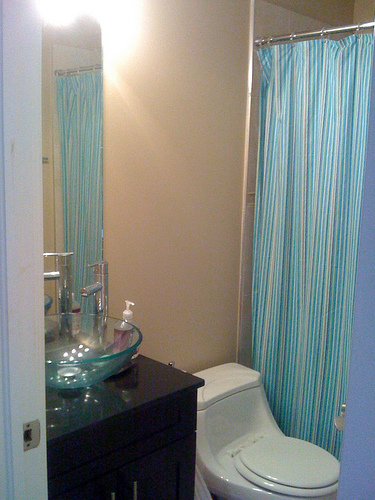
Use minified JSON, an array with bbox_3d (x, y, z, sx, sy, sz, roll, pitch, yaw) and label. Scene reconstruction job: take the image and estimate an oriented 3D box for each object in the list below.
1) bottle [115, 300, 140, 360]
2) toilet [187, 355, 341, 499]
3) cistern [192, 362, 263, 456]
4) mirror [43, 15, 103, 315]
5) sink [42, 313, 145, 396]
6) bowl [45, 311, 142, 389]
[{"bbox_3d":[-0.174,0.211,1.155,0.047,0.159,0.054,10,5,-7],"label":"bottle"},{"bbox_3d":[0.277,0.659,1.558,0.489,0.345,0.529,-2,9,8],"label":"toilet"},{"bbox_3d":[0.146,0.565,1.630,0.220,0.267,0.293,-3,-7,-29],"label":"cistern"},{"bbox_3d":[-0.317,-0.214,1.183,0.138,0.749,0.034,-7,28,-22],"label":"mirror"},{"bbox_3d":[-0.245,0.239,1.040,0.214,0.088,0.209,-4,8,-45],"label":"sink"},{"bbox_3d":[-0.240,0.234,1.051,0.173,0.072,0.175,2,7,0],"label":"bowl"}]
